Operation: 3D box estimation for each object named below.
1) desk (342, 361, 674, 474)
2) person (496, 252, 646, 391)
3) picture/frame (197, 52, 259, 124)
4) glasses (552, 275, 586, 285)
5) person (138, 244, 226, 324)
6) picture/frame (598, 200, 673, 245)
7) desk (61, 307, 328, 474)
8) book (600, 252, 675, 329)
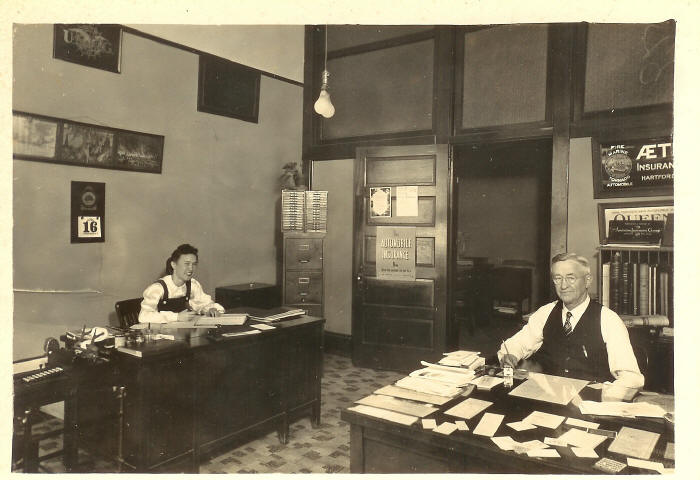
[{"bbox_3d":[0.977,1.283,3.777,1.900,0.484,0.789,-1,1,25],"label":"desk"},{"bbox_3d":[2.027,0.754,5.258,1.420,1.518,0.893,-2,-5,40],"label":"person"},{"bbox_3d":[-1.532,-1.954,7.442,1.053,0.700,0.087,22,31,26],"label":"picture/frame"},{"bbox_3d":[1.779,0.329,4.699,0.236,0.078,0.066,-1,1,22],"label":"glasses"},{"bbox_3d":[-1.881,0.517,6.199,0.805,0.990,1.087,2,1,27],"label":"person"},{"bbox_3d":[2.871,-0.186,5.746,0.512,0.324,0.066,-2,-26,34],"label":"picture/frame"},{"bbox_3d":[-1.357,0.920,5.159,1.236,1.103,2.248,1,2,23],"label":"desk"},{"bbox_3d":[2.683,0.439,5.749,0.858,0.779,0.626,-1,-3,18],"label":"book"}]
